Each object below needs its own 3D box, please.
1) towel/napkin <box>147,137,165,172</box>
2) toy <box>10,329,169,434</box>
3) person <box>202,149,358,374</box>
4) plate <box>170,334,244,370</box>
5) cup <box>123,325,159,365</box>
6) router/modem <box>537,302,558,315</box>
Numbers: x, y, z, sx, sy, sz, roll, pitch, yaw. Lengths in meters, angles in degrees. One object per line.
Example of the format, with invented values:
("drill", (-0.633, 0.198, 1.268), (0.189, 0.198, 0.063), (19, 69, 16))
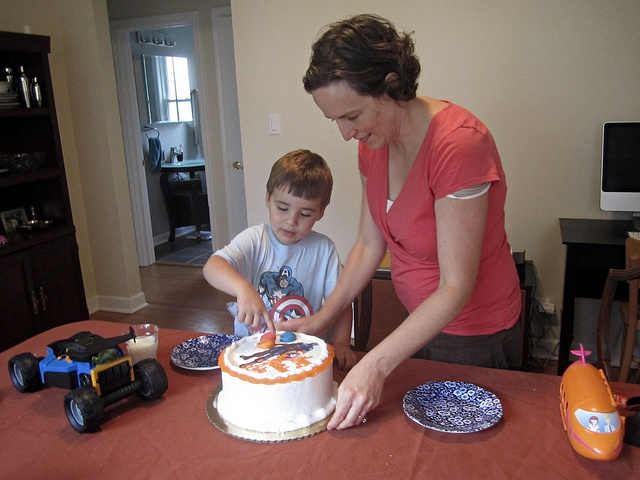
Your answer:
("towel/napkin", (-1.961, -1.026, 5.848), (0.110, 0.363, 0.252), (2, 11, 7))
("toy", (-0.716, 0.348, 1.495), (0.387, 0.224, 0.255), (6, 14, 41))
("person", (-0.133, 0.139, 1.905), (0.547, 0.932, 0.608), (2, 19, -6))
("plate", (-0.412, 0.384, 1.687), (0.127, 0.026, 0.137), (3, 25, 8))
("cup", (-0.595, 0.344, 1.648), (0.103, 0.130, 0.112), (-1, 0, 0))
("router/modem", (1.473, 0.441, 3.162), (0.115, 0.091, 0.066), (2, 6, 30))
